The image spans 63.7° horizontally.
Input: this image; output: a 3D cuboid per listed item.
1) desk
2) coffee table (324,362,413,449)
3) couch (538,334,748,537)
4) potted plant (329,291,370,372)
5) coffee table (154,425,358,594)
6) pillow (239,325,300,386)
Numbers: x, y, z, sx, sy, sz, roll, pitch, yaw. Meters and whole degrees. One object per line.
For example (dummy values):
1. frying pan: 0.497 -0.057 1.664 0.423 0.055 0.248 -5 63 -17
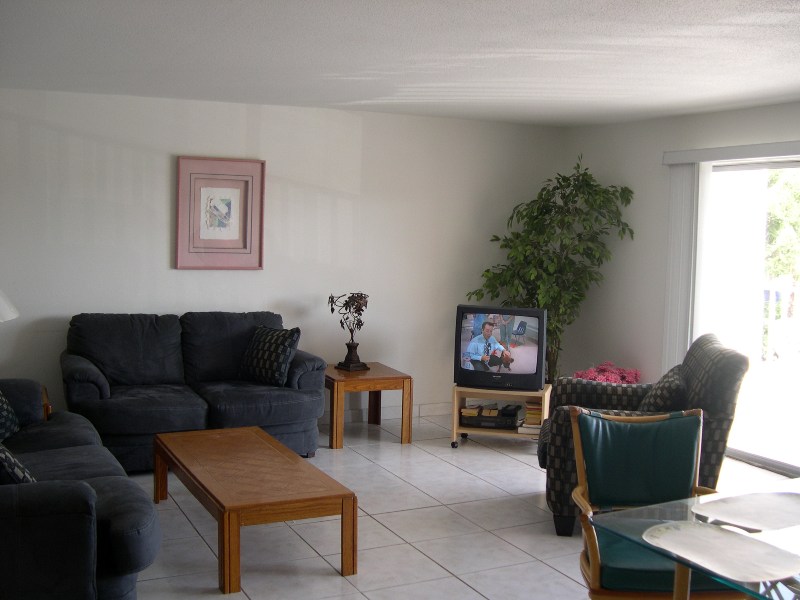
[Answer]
1. desk: 0.862 0.803 5.660 0.852 0.595 0.525 1 5 8
2. coffee table: -0.343 0.889 5.790 0.693 0.598 0.702 0 0 -17
3. couch: 1.560 0.848 4.480 1.307 1.341 1.258 0 -2 11
4. potted plant: -0.462 0.265 5.913 0.391 0.692 0.699 1 7 -6
5. coffee table: -0.876 1.170 3.790 0.722 0.472 1.420 -3 8 -35
6. pillow: -1.054 0.446 5.288 0.463 0.471 0.143 5 -10 37
